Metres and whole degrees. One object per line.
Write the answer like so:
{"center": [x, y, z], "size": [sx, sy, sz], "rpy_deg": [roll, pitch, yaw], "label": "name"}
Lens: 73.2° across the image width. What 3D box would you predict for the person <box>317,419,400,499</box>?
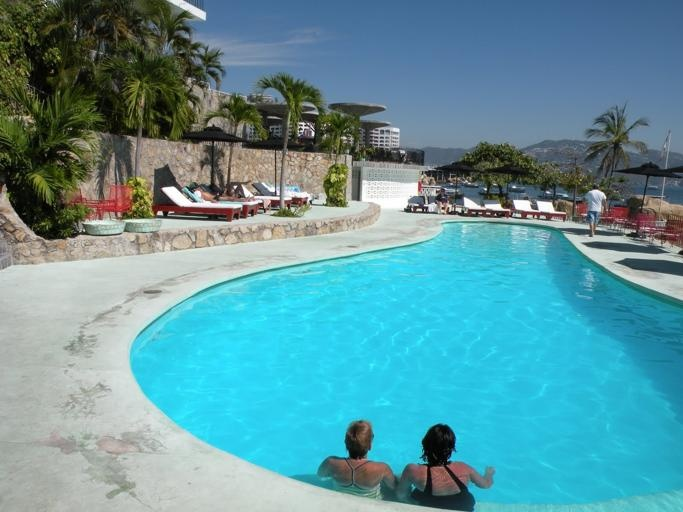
{"center": [0.149, 1.729, 3.827], "size": [0.637, 0.778, 0.498], "rpy_deg": [2, 14, 6], "label": "person"}
